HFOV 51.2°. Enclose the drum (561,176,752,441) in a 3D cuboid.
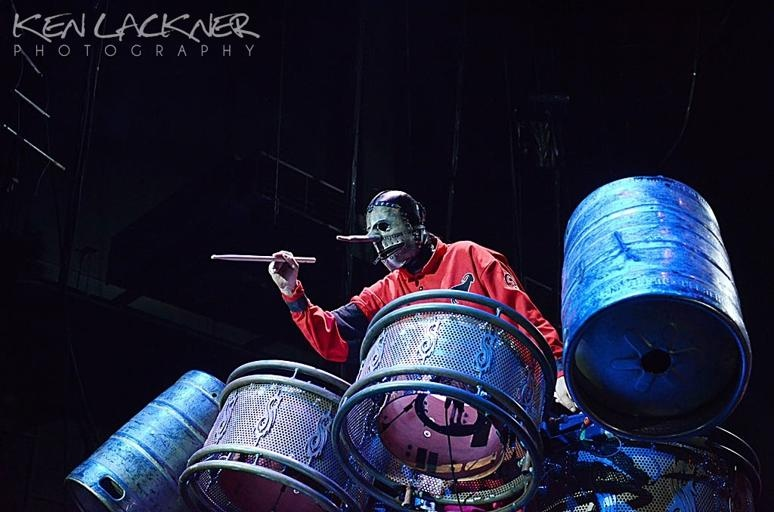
[{"bbox_3d":[1.432,0.230,4.214,0.894,1.421,0.528,0,-11,23],"label":"drum"}]
